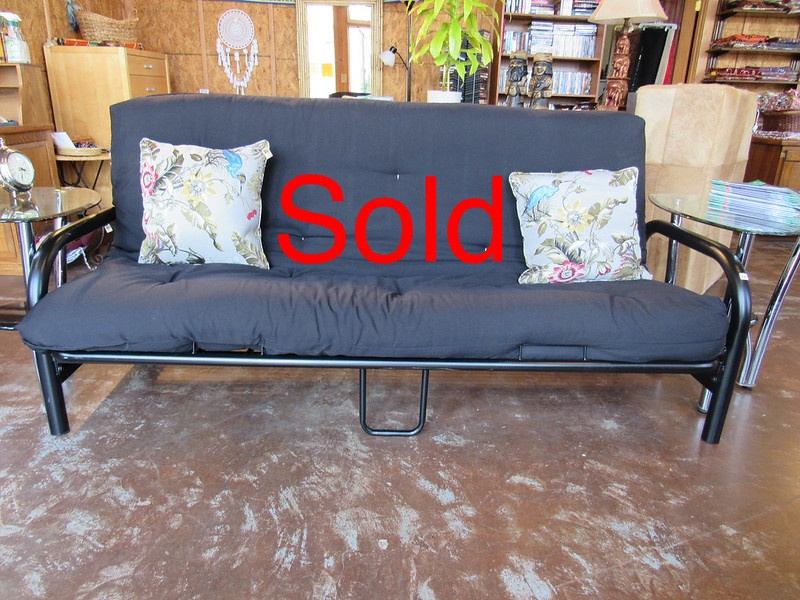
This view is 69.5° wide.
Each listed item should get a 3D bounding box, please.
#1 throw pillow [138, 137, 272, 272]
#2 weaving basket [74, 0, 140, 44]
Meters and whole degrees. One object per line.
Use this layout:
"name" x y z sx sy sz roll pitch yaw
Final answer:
"throw pillow" -0.836 -0.393 2.405 0.613 0.579 0.225 0 -2 -7
"weaving basket" -2.346 -2.231 4.676 0.314 0.260 0.527 26 33 33
